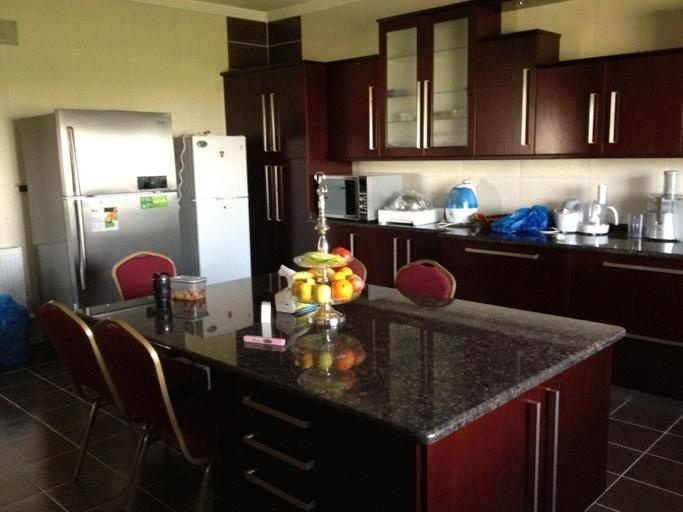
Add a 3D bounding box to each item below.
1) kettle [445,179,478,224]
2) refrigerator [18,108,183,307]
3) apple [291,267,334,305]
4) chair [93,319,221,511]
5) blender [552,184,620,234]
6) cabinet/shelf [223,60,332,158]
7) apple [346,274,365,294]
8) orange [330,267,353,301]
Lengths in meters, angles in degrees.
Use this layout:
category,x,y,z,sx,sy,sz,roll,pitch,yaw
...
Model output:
category,x,y,z,sx,sy,sz,roll,pitch,yaw
kettle,1.060,-0.474,4.539,0.387,0.380,0.292,-9,16,-39
refrigerator,-2.153,-0.430,4.588,1.323,1.697,0.693,-6,13,-18
apple,-0.133,0.134,2.252,0.179,0.152,0.114,-3,13,-7
chair,-0.795,0.742,2.318,0.434,1.052,0.586,-12,16,-37
blender,1.887,-0.362,3.946,0.446,0.342,0.260,7,18,39
cabinet/shelf,-0.653,-1.556,5.447,1.132,1.036,0.439,6,13,33
apple,0.059,0.126,2.343,0.088,0.088,0.085,-7,11,-41
orange,-0.001,0.124,2.287,0.082,0.063,0.139,-6,41,-7
